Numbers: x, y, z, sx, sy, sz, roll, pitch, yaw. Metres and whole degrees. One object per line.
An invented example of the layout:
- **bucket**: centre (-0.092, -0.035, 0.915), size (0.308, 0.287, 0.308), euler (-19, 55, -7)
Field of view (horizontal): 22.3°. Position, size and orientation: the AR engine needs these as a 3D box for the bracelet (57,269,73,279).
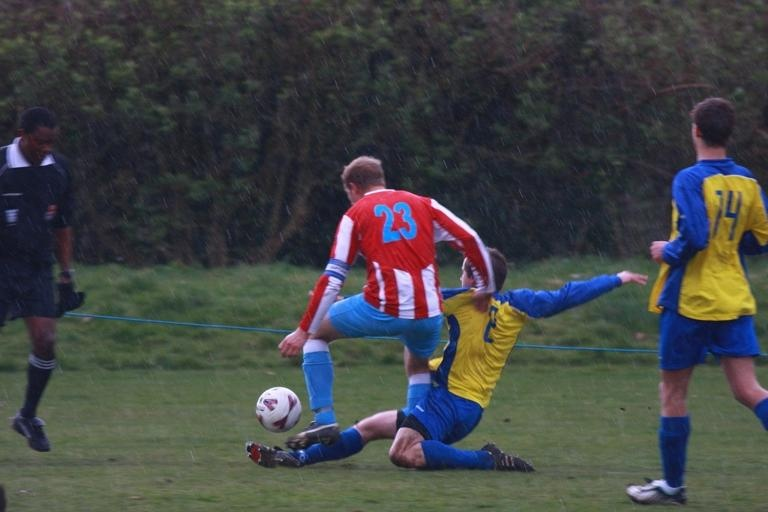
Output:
- **bracelet**: centre (-4.235, 0.248, 26.187), size (0.131, 0.088, 0.125), euler (-2, -9, 8)
